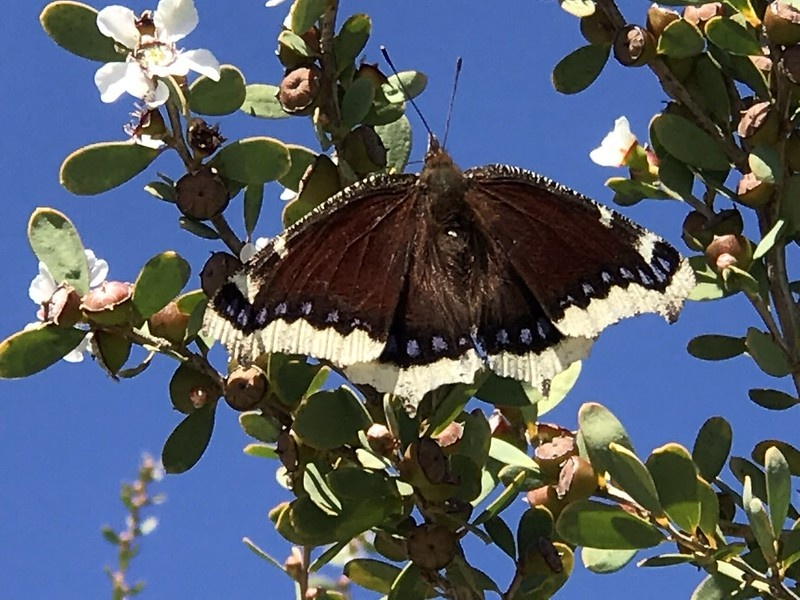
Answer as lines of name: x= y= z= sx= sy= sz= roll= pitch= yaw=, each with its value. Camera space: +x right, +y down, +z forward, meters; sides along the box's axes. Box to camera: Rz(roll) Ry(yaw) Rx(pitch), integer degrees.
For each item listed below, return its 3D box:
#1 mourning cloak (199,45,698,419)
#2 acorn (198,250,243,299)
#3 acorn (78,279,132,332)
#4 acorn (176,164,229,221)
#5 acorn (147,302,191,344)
mourning cloak: x=0.169 y=-0.095 z=5.804 sx=1.612 sy=0.942 sz=0.538 roll=6 pitch=-53 yaw=-2
acorn: x=-0.630 y=-0.093 z=5.719 sx=0.151 sy=0.164 sz=0.091 roll=-24 pitch=-58 yaw=19
acorn: x=-1.003 y=0.012 z=5.715 sx=0.177 sy=0.120 sz=0.132 roll=-1 pitch=-53 yaw=3
acorn: x=-0.695 y=-0.363 z=5.792 sx=0.181 sy=0.128 sz=0.167 roll=39 pitch=-61 yaw=-23
acorn: x=-0.802 y=0.070 z=5.779 sx=0.134 sy=0.112 sz=0.104 roll=14 pitch=-54 yaw=-8
